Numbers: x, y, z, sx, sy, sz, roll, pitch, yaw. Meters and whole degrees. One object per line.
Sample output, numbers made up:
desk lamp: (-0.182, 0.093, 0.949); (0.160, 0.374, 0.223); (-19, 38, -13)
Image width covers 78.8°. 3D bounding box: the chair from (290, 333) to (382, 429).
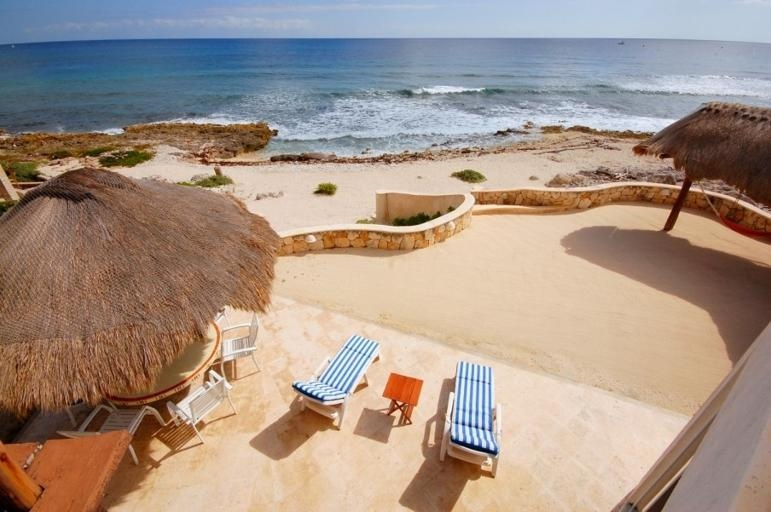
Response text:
chair: (-0.879, 2.434, 9.784); (1.144, 0.634, 1.896); (27, 44, 19)
